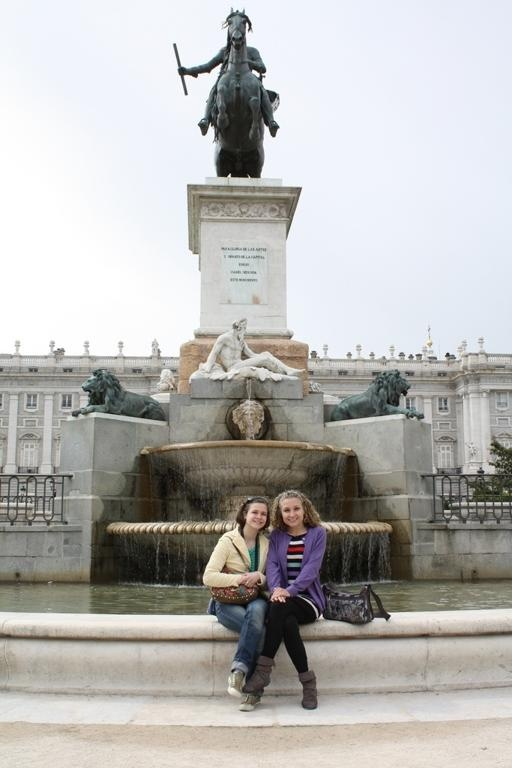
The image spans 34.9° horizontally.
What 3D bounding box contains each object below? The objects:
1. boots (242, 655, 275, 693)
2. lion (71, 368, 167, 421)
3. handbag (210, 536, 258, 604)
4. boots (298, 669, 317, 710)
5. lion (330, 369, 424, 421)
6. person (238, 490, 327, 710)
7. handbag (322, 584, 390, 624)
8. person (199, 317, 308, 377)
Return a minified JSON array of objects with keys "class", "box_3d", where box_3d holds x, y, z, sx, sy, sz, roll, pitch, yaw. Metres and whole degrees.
[{"class":"boots","box_3d":[0.018,1.409,3.918,0.078,0.177,0.216,-7,-21,28]},{"class":"lion","box_3d":[-1.936,0.174,11.323,0.625,0.736,1.687,-4,-10,33]},{"class":"handbag","box_3d":[-0.107,1.017,4.402,0.242,0.315,0.326,1,-8,6]},{"class":"boots","box_3d":[0.250,1.479,3.962,0.089,0.158,0.208,1,-8,3]},{"class":"lion","box_3d":[1.767,0.178,11.830,0.816,0.804,1.673,7,-10,-33]},{"class":"person","box_3d":[0.173,1.071,4.297,0.329,0.982,0.442,-3,-6,32]},{"class":"handbag","box_3d":[0.565,1.195,4.452,0.437,0.226,0.330,-7,-28,22]},{"class":"person","box_3d":[-0.140,-0.455,11.931,1.404,0.835,0.754,0,0,-7]}]
